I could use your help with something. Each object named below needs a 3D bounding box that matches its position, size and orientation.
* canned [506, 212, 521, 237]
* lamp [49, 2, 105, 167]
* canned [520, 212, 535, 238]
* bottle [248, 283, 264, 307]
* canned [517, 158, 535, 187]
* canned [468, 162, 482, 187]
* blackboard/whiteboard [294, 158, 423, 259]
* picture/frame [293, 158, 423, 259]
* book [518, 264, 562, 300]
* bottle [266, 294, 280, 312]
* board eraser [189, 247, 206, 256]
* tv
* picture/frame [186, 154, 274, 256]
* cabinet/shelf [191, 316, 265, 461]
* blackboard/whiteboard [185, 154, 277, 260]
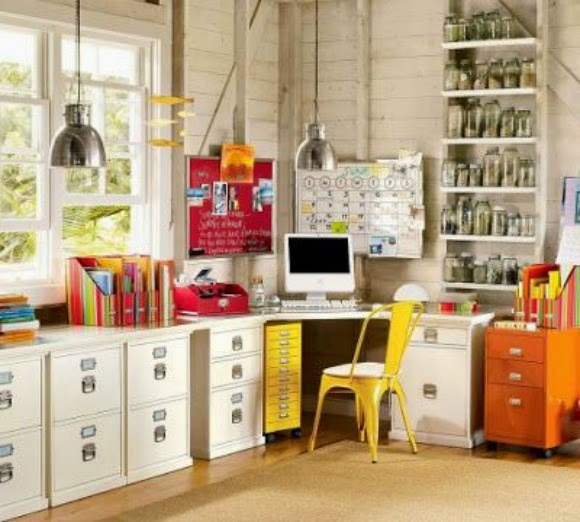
[{"bbox_3d":[1.550,-0.251,4.263,0.096,0.154,0.053,0,-1,13],"label":"canned"},{"bbox_3d":[-1.079,-0.948,3.133,0.251,1.037,0.633,1,-1,-18],"label":"lamp"},{"bbox_3d":[1.637,-0.237,4.231,0.138,0.213,0.144,1,2,17],"label":"canned"},{"bbox_3d":[-0.236,0.245,4.382,0.107,0.174,0.217,0,-1,-4],"label":"bottle"},{"bbox_3d":[1.620,-0.597,4.198,0.110,0.201,0.083,0,-1,13],"label":"canned"},{"bbox_3d":[1.304,-0.599,4.311,0.084,0.157,0.044,0,-1,16],"label":"canned"},{"bbox_3d":[0.574,-0.402,4.765,0.865,0.594,0.034,1,0,15],"label":"blackboard/whiteboard"},{"bbox_3d":[0.572,-0.405,4.765,0.867,0.589,0.036,1,0,15],"label":"picture/frame"},{"bbox_3d":[1.685,0.105,4.097,0.314,0.291,0.223,-1,2,-40],"label":"book"},{"bbox_3d":[-0.118,0.300,4.242,0.099,0.088,0.096,0,1,1],"label":"bottle"},{"bbox_3d":[-0.653,-0.059,4.293,0.006,0.063,0.140,0,-1,38],"label":"board eraser"},{"bbox_3d":[0.218,0.032,4.588,0.562,0.461,0.174,1,-15,-10],"label":"tv"},{"bbox_3d":[-0.432,-0.413,4.554,0.067,0.725,0.933,8,10,39],"label":"picture/frame"},{"bbox_3d":[-0.373,0.796,3.878,0.507,0.837,0.198,1,-1,-39],"label":"cabinet/shelf"},{"bbox_3d":[-0.425,-0.404,4.513,0.934,0.738,0.062,3,5,42],"label":"blackboard/whiteboard"}]
